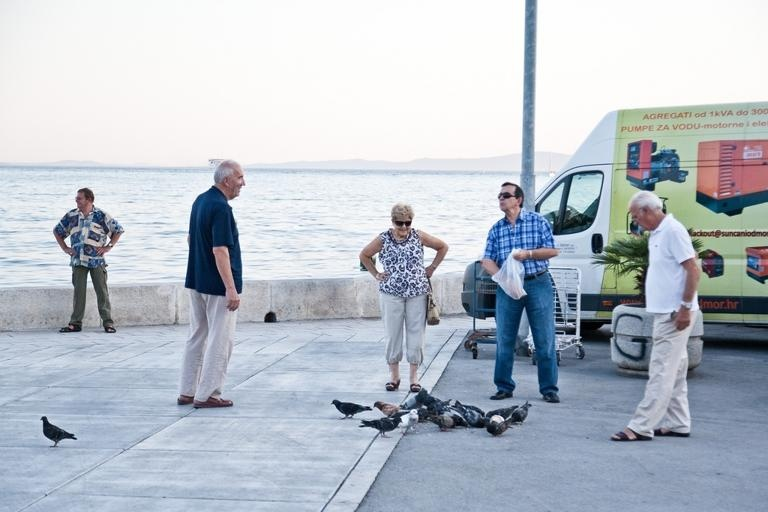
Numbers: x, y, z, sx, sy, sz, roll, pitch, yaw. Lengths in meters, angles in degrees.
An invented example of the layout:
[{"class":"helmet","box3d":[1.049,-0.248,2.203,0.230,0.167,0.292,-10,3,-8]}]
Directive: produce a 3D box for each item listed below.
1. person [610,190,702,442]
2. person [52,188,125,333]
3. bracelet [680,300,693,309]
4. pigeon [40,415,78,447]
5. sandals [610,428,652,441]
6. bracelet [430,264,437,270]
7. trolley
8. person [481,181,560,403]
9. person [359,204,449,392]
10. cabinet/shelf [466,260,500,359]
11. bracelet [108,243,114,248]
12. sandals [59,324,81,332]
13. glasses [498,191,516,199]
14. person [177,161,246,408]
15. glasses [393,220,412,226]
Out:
[{"class":"person","box3d":[2.769,0.610,8.115,0.717,2.468,0.657,3,10,19]},{"class":"person","box3d":[-4.913,0.085,13.459,0.878,2.372,1.062,0,1,-19]},{"class":"bracelet","box3d":[2.989,0.481,8.008,0.102,0.058,0.100,3,-2,-3]},{"class":"pigeon","box3d":[-3.190,1.704,7.939,0.381,0.281,0.264,0,9,0]},{"class":"sandals","box3d":[2.473,1.806,8.164,0.422,0.101,0.143,3,-4,-3]},{"class":"bracelet","box3d":[0.599,0.134,9.796,0.068,0.059,0.067,5,-10,-14]},{"class":"trolley","box3d":[2.136,0.794,12.211,2.033,1.347,1.200,0,-3,10]},{"class":"person","box3d":[1.623,0.412,9.474,0.936,2.518,0.613,2,9,10]},{"class":"person","box3d":[0.268,0.464,9.891,1.020,2.258,1.417,1,-1,5]},{"class":"cabinet/shelf","box3d":[1.421,0.728,12.243,0.605,1.315,0.553,1,-1,11]},{"class":"bracelet","box3d":[-4.590,-0.182,13.579,0.109,0.065,0.105,-18,-8,-8]},{"class":"sandals","box3d":[-5.128,1.159,13.185,0.383,0.140,0.124,3,2,-1]},{"class":"glasses","box3d":[1.408,-0.695,9.316,0.188,0.079,0.068,1,9,5]},{"class":"person","box3d":[-1.956,0.303,9.054,0.808,2.730,0.727,-1,9,-10]},{"class":"glasses","box3d":[0.215,-0.378,9.509,0.198,0.070,0.165,-1,8,-7]}]
